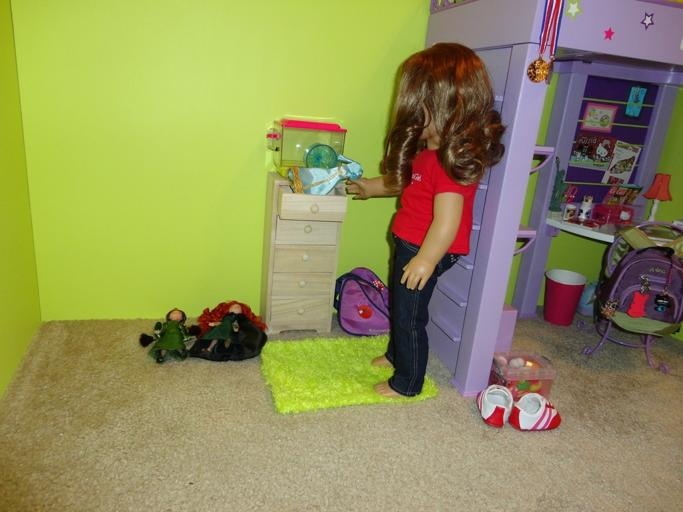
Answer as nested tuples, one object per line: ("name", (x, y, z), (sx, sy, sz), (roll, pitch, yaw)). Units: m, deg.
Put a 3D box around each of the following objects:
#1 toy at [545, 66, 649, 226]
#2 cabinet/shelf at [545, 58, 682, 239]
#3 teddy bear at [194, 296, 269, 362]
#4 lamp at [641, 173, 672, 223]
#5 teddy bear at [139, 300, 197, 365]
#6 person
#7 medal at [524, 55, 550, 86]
("toy", (1.812, -0.781, 3.664), (0.641, 0.949, 0.212), (4, 23, -7))
("cabinet/shelf", (1.816, -0.668, 3.494), (0.940, 1.250, 0.429), (-8, 21, -24))
("teddy bear", (-0.652, 0.454, 2.937), (0.330, 0.125, 0.338), (-1, 43, -12))
("lamp", (2.154, -0.391, 3.439), (0.184, 0.342, 0.178), (16, 19, 35))
("teddy bear", (-1.001, 0.443, 2.838), (0.322, 0.217, 0.273), (4, 19, 8))
("person", (0.494, -0.147, 2.566), (0.568, 1.751, 0.469), (3, 19, 5))
("medal", (0.909, -0.859, 2.330), (0.099, 0.119, 0.031), (-3, 19, -13))
